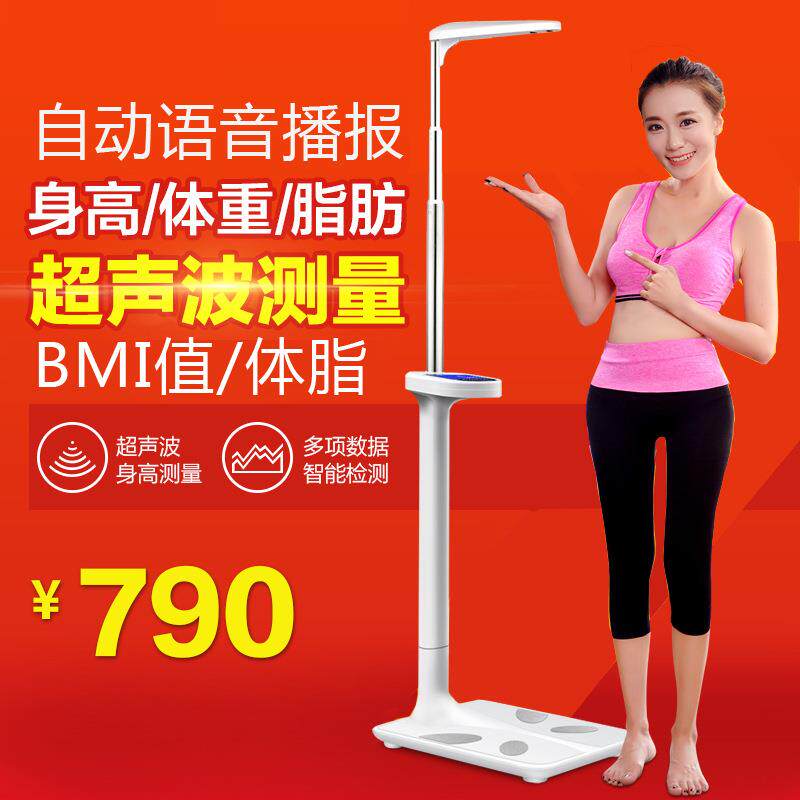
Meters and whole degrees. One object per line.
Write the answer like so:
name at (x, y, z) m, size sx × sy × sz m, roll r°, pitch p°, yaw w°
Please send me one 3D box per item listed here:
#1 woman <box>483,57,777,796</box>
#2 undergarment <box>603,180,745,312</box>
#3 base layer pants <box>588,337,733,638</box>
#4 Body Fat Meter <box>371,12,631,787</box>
woman at (0.497, -0.055, 2.207) m, size 0.454 × 1.700 × 0.441 m, roll 0°, pitch 5°, yaw 24°
undergarment at (0.528, -0.292, 2.090) m, size 0.228 × 0.231 × 0.250 m, roll -5°, pitch 6°, yaw -44°
base layer pants at (0.522, 0.240, 2.138) m, size 0.356 × 0.604 × 0.208 m, roll 1°, pitch -2°, yaw -6°
Body Fat Meter at (0.236, -0.026, 2.253) m, size 0.473 × 1.559 × 0.595 m, roll 3°, pitch -4°, yaw -40°
